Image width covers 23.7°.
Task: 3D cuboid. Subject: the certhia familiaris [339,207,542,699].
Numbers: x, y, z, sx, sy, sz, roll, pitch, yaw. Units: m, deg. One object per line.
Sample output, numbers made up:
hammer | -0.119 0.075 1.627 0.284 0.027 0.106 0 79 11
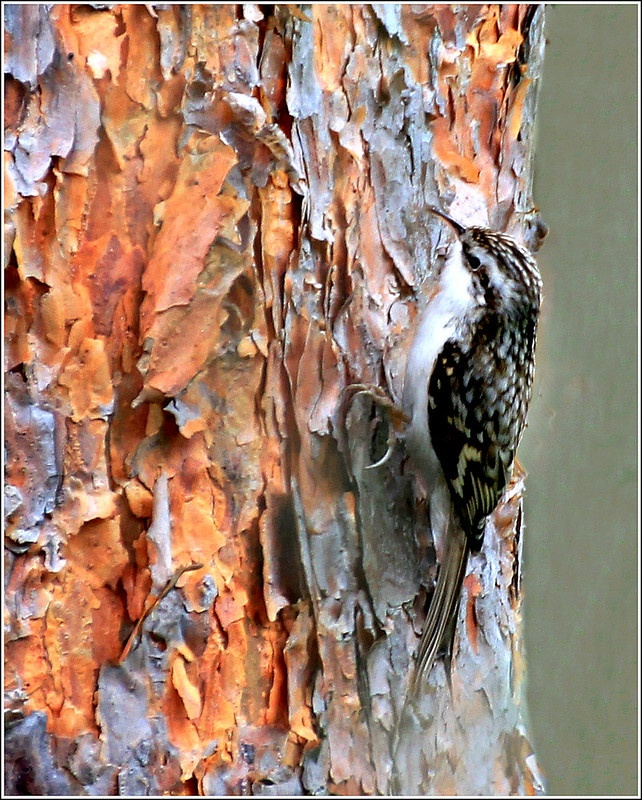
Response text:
certhia familiaris | 0.232 0.100 3.172 0.292 1.040 0.224 12 32 5
